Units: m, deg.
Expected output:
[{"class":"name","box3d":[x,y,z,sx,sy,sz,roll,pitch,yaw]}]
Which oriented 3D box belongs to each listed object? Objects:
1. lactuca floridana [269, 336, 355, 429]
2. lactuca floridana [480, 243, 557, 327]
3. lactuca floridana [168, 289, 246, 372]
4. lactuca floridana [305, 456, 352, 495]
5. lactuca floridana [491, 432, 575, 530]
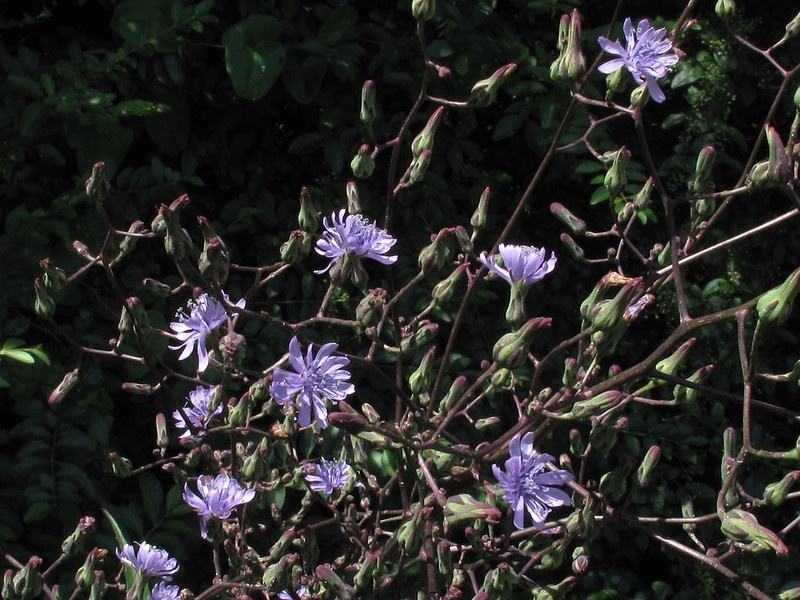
[{"class":"lactuca floridana","box3d":[-0.187,0.172,1.820,0.164,0.071,0.207,-14,96,-11]},{"class":"lactuca floridana","box3d":[0.267,-0.068,1.934,0.144,0.145,0.231,1,97,13]},{"class":"lactuca floridana","box3d":[-0.429,0.070,1.946,0.178,0.201,0.167,-10,93,-32]},{"class":"lactuca floridana","box3d":[-0.178,0.440,2.108,0.117,0.117,0.075,-20,61,-12]},{"class":"lactuca floridana","box3d":[0.280,0.412,1.870,0.178,0.079,0.211,-33,92,-15]}]
